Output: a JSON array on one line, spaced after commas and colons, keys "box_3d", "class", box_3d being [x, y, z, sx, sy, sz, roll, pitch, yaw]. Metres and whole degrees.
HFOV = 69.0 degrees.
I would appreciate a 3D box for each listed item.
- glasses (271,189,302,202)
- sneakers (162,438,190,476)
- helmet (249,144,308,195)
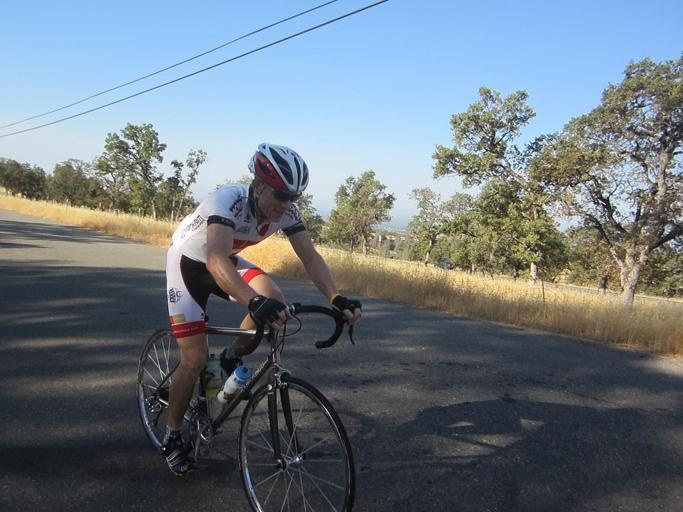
[{"box_3d": [-0.462, -0.501, 4.151, 0.122, 0.043, 0.129, 10, 15, -38], "class": "glasses"}, {"box_3d": [-1.426, 1.738, 4.277, 0.113, 0.154, 0.316, -22, 51, -38], "class": "sneakers"}, {"box_3d": [-0.530, -0.722, 4.172, 0.486, 0.411, 0.255, 2, 12, -9], "class": "helmet"}]
